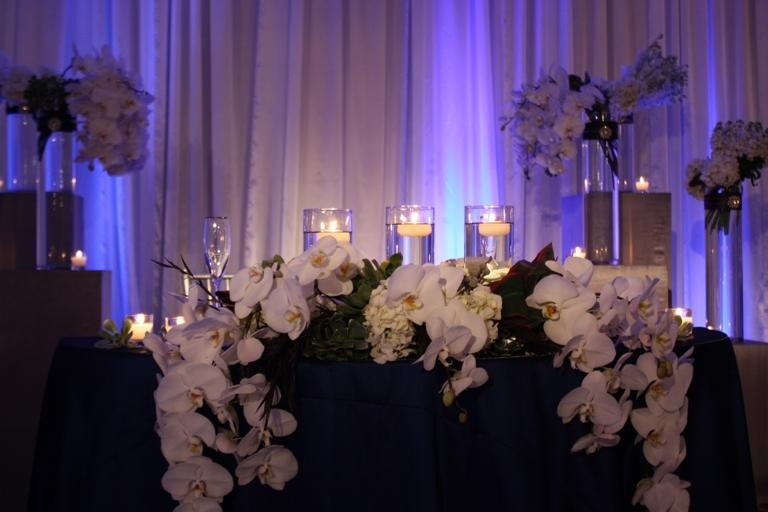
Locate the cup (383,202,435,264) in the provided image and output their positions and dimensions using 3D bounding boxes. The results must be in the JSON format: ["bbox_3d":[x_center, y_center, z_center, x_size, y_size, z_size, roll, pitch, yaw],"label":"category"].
[{"bbox_3d":[0.092,-0.092,2.900,0.198,0.245,0.206,0,-2,0],"label":"cup"}]

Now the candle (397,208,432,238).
[{"bbox_3d":[0.123,-0.132,2.880,0.107,0.090,0.112,0,0,3],"label":"candle"}]

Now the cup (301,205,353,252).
[{"bbox_3d":[-0.242,-0.111,2.691,0.177,0.210,0.171,0,-2,0],"label":"cup"}]

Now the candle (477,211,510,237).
[{"bbox_3d":[0.420,-0.123,2.833,0.090,0.071,0.095,1,-5,-3],"label":"candle"}]

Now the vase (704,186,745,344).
[{"bbox_3d":[1.626,0.054,3.538,0.169,0.751,0.171,2,9,36],"label":"vase"}]

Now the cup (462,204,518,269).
[{"bbox_3d":[0.403,-0.080,2.856,0.203,0.253,0.212,0,-2,0],"label":"cup"}]

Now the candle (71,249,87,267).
[{"bbox_3d":[-1.338,0.009,3.225,0.060,0.098,0.059,1,-9,-11],"label":"candle"}]
